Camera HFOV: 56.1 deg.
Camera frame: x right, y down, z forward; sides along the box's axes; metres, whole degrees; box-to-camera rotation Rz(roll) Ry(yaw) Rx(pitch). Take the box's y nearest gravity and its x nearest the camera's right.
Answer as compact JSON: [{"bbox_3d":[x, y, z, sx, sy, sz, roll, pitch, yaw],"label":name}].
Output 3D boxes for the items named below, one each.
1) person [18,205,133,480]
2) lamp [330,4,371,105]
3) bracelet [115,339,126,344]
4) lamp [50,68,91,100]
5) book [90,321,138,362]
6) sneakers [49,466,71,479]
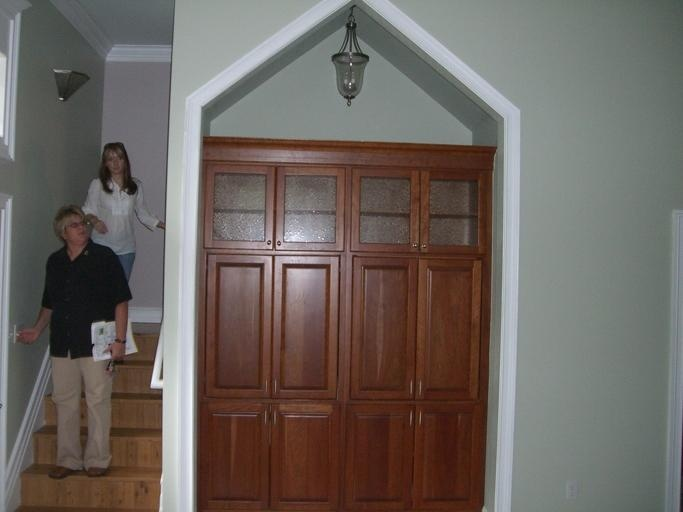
[{"bbox_3d":[-1.903,0.635,4.736,0.582,1.980,0.338,5,-8,-27],"label":"person"},{"bbox_3d":[0.072,-1.506,4.866,0.249,0.741,0.647,1,-8,1],"label":"lamp"},{"bbox_3d":[-1.633,0.632,4.745,0.053,0.040,0.058,12,-8,-22],"label":"bracelet"},{"bbox_3d":[-2.182,-1.383,5.197,0.247,0.262,0.251,-1,-1,39],"label":"lamp"},{"bbox_3d":[-1.702,0.636,4.753,0.344,0.327,0.051,-4,-3,-21],"label":"book"},{"bbox_3d":[-2.064,1.594,4.714,0.159,0.092,0.099,4,-8,-13],"label":"sneakers"}]
